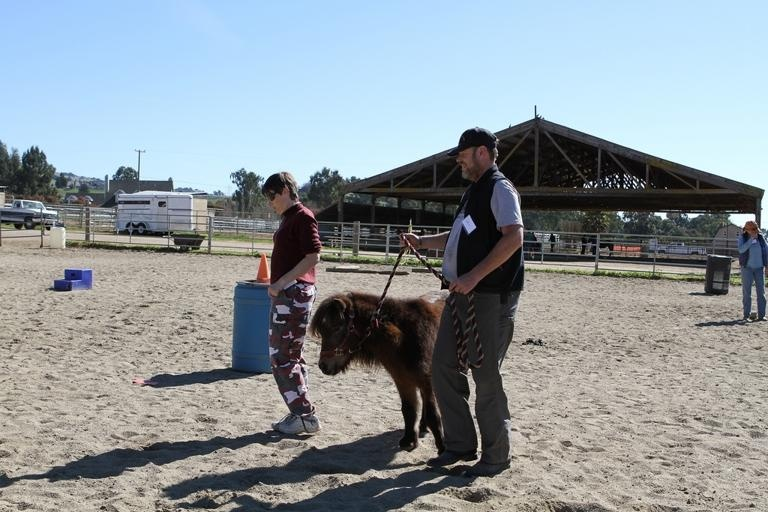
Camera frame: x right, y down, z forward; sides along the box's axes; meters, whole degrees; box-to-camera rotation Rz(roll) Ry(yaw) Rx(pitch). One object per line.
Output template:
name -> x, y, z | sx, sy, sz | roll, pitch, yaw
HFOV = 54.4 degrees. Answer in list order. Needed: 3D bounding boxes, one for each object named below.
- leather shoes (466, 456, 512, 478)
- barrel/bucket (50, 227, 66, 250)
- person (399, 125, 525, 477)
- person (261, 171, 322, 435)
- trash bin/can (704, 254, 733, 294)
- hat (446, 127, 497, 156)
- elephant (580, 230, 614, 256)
leather shoes -> 1.061, 2.083, 7.448 | 0.473, 0.202, 0.170 | 1, -1, -22
barrel/bucket -> -11.373, -0.602, 26.034 | 0.498, 0.721, 1.034 | -5, 14, -26
person -> 0.924, 0.466, 7.394 | 0.855, 3.389, 0.724 | 4, 12, 14
person -> -0.974, 0.487, 8.141 | 0.552, 2.843, 0.640 | -1, 12, -10
trash bin/can -> 8.545, 0.480, 19.114 | 0.548, 1.054, 0.553 | 6, 13, 22
hat -> 0.857, -1.090, 7.259 | 0.463, 0.301, 0.295 | 2, 12, 4
elephant -> 9.408, -0.500, 33.100 | 1.295, 0.898, 1.364 | -2, -10, 33
